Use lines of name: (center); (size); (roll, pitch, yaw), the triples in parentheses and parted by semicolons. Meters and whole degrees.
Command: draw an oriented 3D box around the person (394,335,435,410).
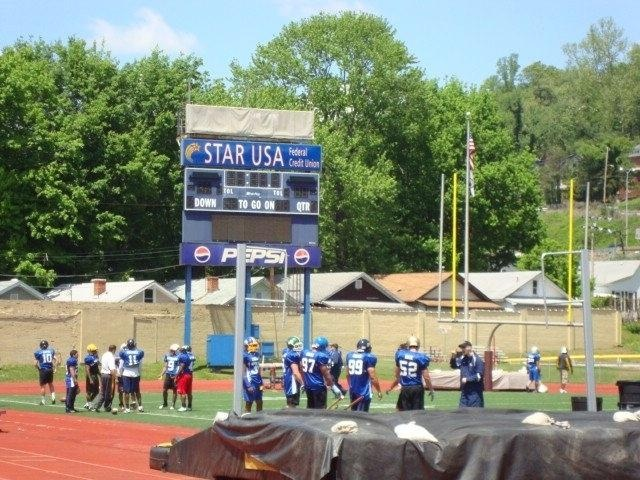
person: (3.461, 4.793, 46.054); (0.978, 2.728, 1.282); (0, -3, -5)

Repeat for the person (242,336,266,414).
person: (-2.529, 4.914, 46.345); (0.807, 2.656, 0.585); (2, -4, -40)

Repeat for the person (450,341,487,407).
person: (5.519, 4.974, 46.436); (0.946, 2.528, 1.142); (0, 0, -20)
